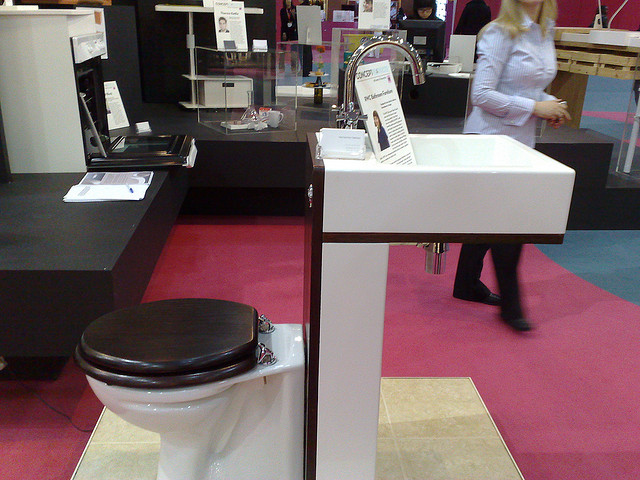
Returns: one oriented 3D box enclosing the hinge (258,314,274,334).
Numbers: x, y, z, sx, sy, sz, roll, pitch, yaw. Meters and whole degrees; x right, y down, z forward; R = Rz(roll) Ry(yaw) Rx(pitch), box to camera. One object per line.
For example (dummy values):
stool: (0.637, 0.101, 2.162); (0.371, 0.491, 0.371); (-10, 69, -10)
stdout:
hinge: (-0.185, 0.309, 1.724); (0.056, 0.055, 0.049); (-10, 28, -18)

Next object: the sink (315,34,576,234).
sink: (0.345, -0.344, 1.509); (0.734, 0.526, 0.543); (0, 24, -2)

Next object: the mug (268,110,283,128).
mug: (-0.374, -0.997, 4.037); (0.089, 0.139, 0.144); (16, 31, 24)

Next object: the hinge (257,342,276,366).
hinge: (-0.160, 0.357, 1.506); (0.045, 0.063, 0.019); (-7, -17, -21)

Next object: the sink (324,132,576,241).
sink: (0.339, -0.192, 1.557); (0.696, 0.228, 0.526); (-2, 26, -4)
